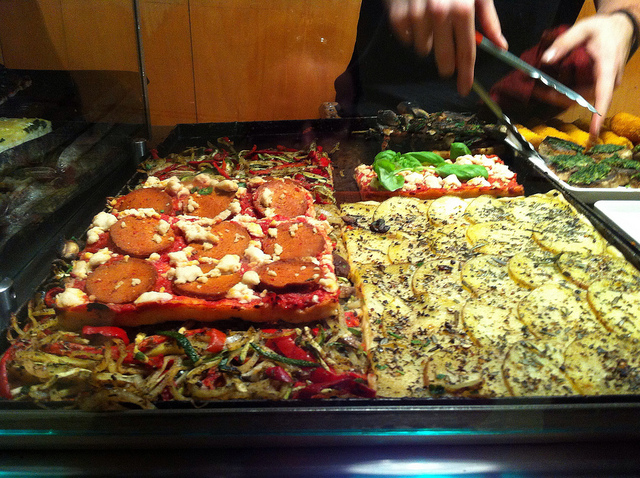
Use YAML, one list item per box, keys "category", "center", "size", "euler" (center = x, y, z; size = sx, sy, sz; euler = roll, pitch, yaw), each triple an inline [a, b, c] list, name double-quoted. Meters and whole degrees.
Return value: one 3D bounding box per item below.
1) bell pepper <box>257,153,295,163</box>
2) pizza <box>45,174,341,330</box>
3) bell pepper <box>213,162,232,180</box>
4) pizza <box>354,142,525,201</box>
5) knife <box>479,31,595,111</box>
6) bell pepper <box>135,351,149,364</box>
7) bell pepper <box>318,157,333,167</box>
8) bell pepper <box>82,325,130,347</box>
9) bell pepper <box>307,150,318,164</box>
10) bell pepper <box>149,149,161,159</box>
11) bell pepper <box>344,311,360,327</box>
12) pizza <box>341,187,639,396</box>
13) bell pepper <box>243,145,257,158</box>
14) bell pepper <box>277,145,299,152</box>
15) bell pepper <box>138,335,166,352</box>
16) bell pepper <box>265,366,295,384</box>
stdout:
- category: "bell pepper"
  center: [-0.214, -0.389, 2.539]
  size: [0.193, 0.035, 0.047]
  euler: [2, -1, -9]
- category: "pizza"
  center: [-0.460, 0.019, 2.123]
  size: [1.075, 0.276, 0.855]
  euler: [0, 32, 0]
- category: "bell pepper"
  center: [-0.467, -0.314, 2.435]
  size: [0.023, 0.027, 0.164]
  euler: [-22, 49, -42]
- category: "pizza"
  center: [0.561, -0.332, 2.528]
  size: [0.683, 0.076, 0.304]
  euler: [-1, 27, -5]
- category: "knife"
  center: [0.721, -0.551, 1.681]
  size: [0.464, 0.054, 0.019]
  euler: [24, 67, -7]
- category: "bell pepper"
  center: [-0.609, 0.402, 1.758]
  size: [0.052, 0.026, 0.021]
  euler: [37, 10, 16]
- category: "bell pepper"
  center: [0.015, -0.370, 2.530]
  size: [0.067, 0.015, 0.053]
  euler: [18, 46, 18]
- category: "bell pepper"
  center: [-0.756, 0.340, 1.814]
  size: [0.137, 0.035, 0.080]
  euler: [1, 0, -5]
- category: "bell pepper"
  center: [-0.031, -0.398, 2.542]
  size: [0.058, 0.044, 0.050]
  euler: [0, 74, 5]
- category: "bell pepper"
  center: [-0.815, -0.414, 2.542]
  size: [0.041, 0.020, 0.088]
  euler: [-11, 29, -16]
- category: "bell pepper"
  center: [0.119, 0.298, 1.911]
  size: [0.054, 0.014, 0.047]
  euler: [16, 46, 22]
- category: "pizza"
  center: [0.673, 0.156, 2.006]
  size: [1.099, 0.318, 0.974]
  euler: [-1, 33, -1]
- category: "bell pepper"
  center: [-0.340, -0.420, 2.486]
  size: [0.087, 0.015, 0.022]
  euler: [-35, 47, -4]
- category: "bell pepper"
  center: [-0.161, -0.438, 2.550]
  size: [0.121, 0.022, 0.022]
  euler: [6, 73, -14]
- category: "bell pepper"
  center: [-0.597, 0.360, 1.813]
  size: [0.097, 0.016, 0.054]
  euler: [-27, 41, -36]
- category: "bell pepper"
  center: [-0.136, 0.457, 1.742]
  size: [0.090, 0.032, 0.048]
  euler: [27, 43, 35]
